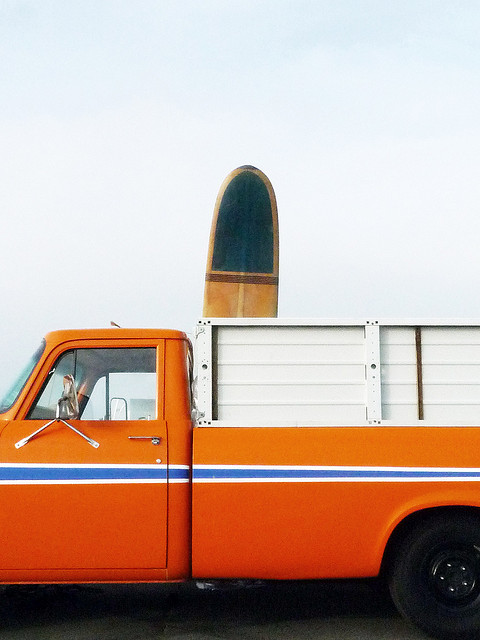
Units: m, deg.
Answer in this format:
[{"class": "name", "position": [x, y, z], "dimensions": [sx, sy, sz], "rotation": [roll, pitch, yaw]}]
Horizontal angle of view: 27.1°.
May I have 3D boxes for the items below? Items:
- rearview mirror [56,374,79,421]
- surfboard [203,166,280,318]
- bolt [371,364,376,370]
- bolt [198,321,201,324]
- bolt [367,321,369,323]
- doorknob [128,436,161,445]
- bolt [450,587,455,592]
[{"class": "rearview mirror", "position": [-1.035, 0.480, 5.965], "dimensions": [0.121, 0.283, 0.098], "rotation": [8, -27, -16]}, {"class": "surfboard", "position": [0.022, -0.578, 11.396], "dimensions": [0.759, 0.234, 3.522], "rotation": [4, -38, 1]}, {"class": "bolt", "position": [0.806, 0.278, 6.072], "dimensions": [0.027, 0.027, 0.004], "rotation": [0, -2, 1]}, {"class": "bolt", "position": [-0.250, 0.006, 6.071], "dimensions": [0.011, 0.014, 0.004], "rotation": [-8, 9, 0]}, {"class": "bolt", "position": [0.774, 0.008, 6.101], "dimensions": [0.010, 0.012, 0.006], "rotation": [0, -8, 3]}, {"class": "doorknob", "position": [-0.577, 0.716, 5.916], "dimensions": [0.160, 0.054, 0.067], "rotation": [2, -18, 2]}, {"class": "bolt", "position": [1.256, 1.599, 5.939], "dimensions": [0.030, 0.025, 0.018], "rotation": [4, -3, -5]}]
